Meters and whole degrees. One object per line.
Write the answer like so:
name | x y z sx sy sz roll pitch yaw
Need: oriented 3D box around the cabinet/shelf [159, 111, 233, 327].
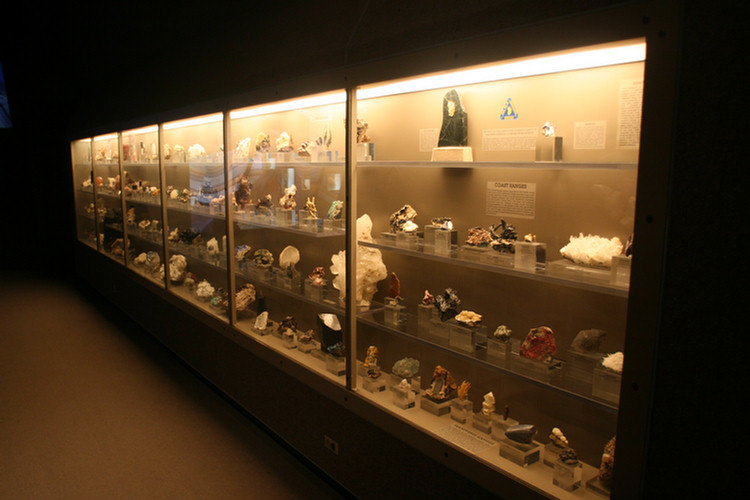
cabinet/shelf | -1.813 -0.403 5.071 0.440 1.837 1.610 -9 17 -31

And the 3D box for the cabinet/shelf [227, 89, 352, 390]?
cabinet/shelf | -0.700 -0.216 3.990 0.548 1.947 1.554 -10 18 -33

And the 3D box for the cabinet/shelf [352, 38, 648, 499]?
cabinet/shelf | 0.630 0.012 2.989 1.750 2.216 0.615 12 19 38
